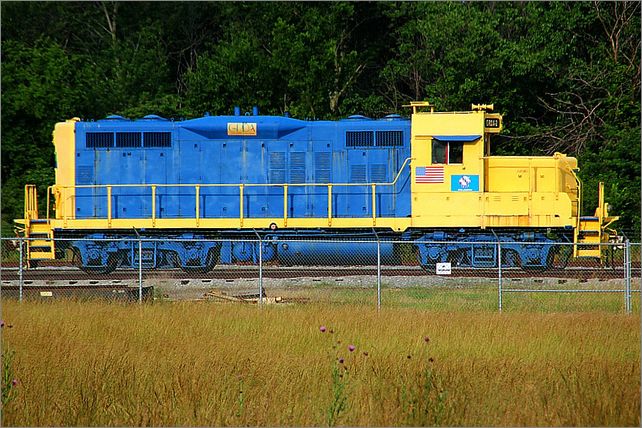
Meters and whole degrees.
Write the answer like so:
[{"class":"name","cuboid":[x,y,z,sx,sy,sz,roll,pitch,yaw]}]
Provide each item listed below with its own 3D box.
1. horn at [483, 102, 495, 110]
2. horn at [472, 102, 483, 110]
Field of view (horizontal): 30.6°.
[{"class":"horn","cuboid":[7.337,-4.694,51.545,0.413,0.312,1.818,0,1,12]},{"class":"horn","cuboid":[6.735,-4.711,50.877,0.610,0.372,0.369,1,-1,5]}]
